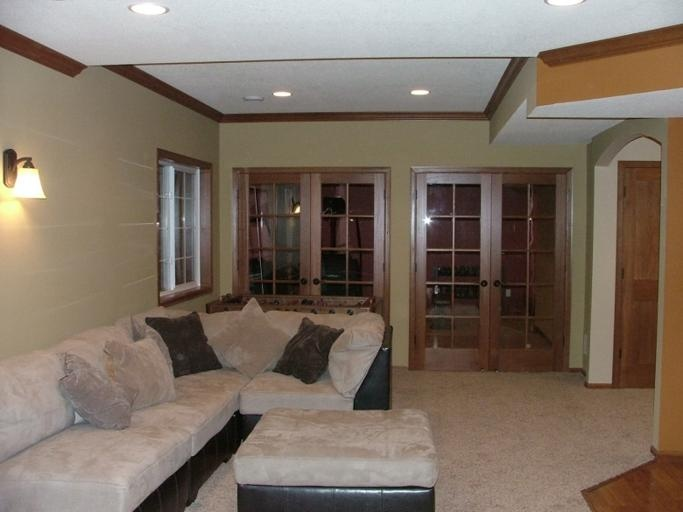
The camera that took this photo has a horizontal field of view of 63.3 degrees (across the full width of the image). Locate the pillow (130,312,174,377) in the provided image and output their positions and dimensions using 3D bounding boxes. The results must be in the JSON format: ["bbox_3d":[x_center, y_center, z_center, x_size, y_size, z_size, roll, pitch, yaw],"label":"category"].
[{"bbox_3d":[-1.493,0.652,4.320,0.131,0.426,0.457,-21,-23,3],"label":"pillow"}]

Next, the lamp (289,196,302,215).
[{"bbox_3d":[-0.537,-0.580,6.437,0.175,0.181,0.127,1,7,11],"label":"lamp"}]
